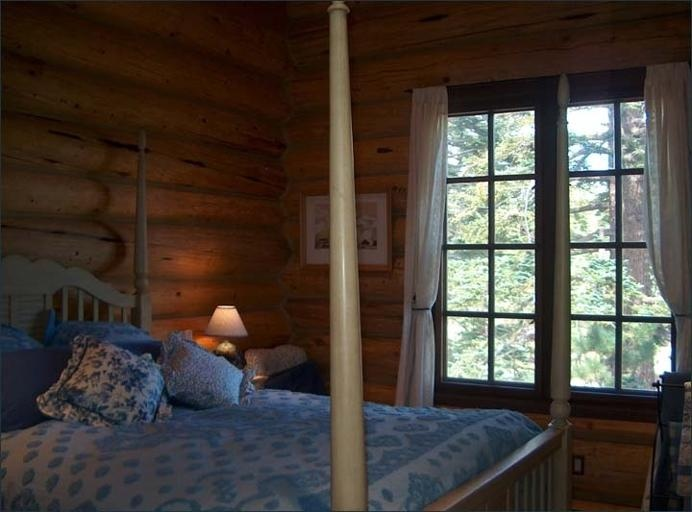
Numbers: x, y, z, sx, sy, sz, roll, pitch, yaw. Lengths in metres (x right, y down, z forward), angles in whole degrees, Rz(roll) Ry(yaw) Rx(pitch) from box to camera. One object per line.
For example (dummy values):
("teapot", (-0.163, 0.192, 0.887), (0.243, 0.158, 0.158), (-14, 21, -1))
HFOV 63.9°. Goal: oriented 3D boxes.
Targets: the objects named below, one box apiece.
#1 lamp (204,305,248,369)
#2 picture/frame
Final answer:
("lamp", (-0.888, 0.621, 4.151), (0.339, 0.471, 0.309), (0, -5, 2))
("picture/frame", (0.036, -0.177, 3.661), (0.815, 0.625, 0.051), (0, 4, 18))
